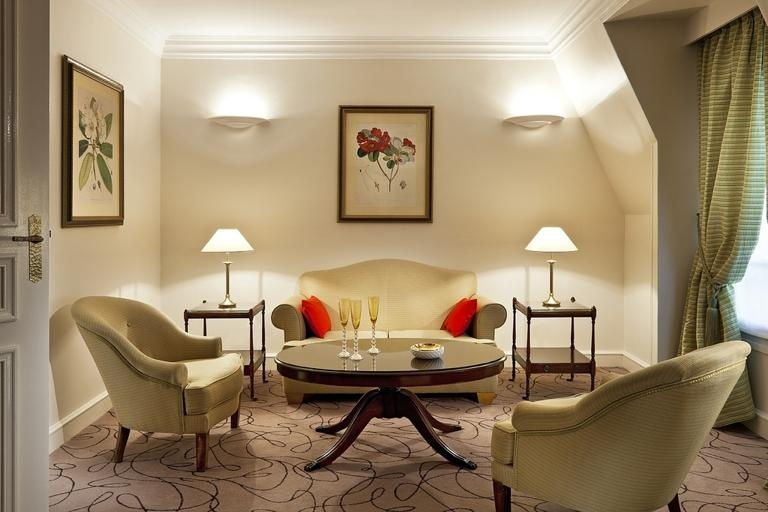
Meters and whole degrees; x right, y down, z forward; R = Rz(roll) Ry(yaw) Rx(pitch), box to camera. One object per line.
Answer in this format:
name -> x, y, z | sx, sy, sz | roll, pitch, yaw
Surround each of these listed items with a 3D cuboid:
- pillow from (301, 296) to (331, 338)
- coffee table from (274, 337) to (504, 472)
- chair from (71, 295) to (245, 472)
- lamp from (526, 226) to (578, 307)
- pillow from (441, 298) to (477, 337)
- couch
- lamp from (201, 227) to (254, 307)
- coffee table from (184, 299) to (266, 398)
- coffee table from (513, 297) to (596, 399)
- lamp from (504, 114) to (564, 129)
pillow -> -0.639, 0.572, 5.534 | 0.238, 0.388, 0.508 | -2, 3, 6
coffee table -> 0.046, 1.044, 4.194 | 1.602, 0.802, 0.759 | -1, 11, -4
chair -> -1.512, 0.870, 4.474 | 1.368, 1.286, 1.084 | 1, 2, 3
lamp -> 1.659, 0.095, 5.777 | 0.453, 0.804, 0.704 | 3, 11, 14
pillow -> 0.729, 0.563, 5.527 | 0.308, 0.323, 0.386 | -3, 11, -15
couch -> 0.047, 0.673, 5.525 | 2.121, 1.145, 1.073 | 0, 0, -6
lamp -> -1.515, 0.117, 5.727 | 0.486, 0.798, 0.747 | -3, 11, -14
coffee table -> -1.410, 0.881, 5.708 | 0.828, 0.961, 1.032 | 0, 0, 2
coffee table -> 1.633, 0.853, 5.668 | 0.754, 0.772, 0.916 | 0, 1, -4
lamp -> 1.541, -1.371, 5.916 | 0.617, 0.133, 0.352 | 1, 10, 8
